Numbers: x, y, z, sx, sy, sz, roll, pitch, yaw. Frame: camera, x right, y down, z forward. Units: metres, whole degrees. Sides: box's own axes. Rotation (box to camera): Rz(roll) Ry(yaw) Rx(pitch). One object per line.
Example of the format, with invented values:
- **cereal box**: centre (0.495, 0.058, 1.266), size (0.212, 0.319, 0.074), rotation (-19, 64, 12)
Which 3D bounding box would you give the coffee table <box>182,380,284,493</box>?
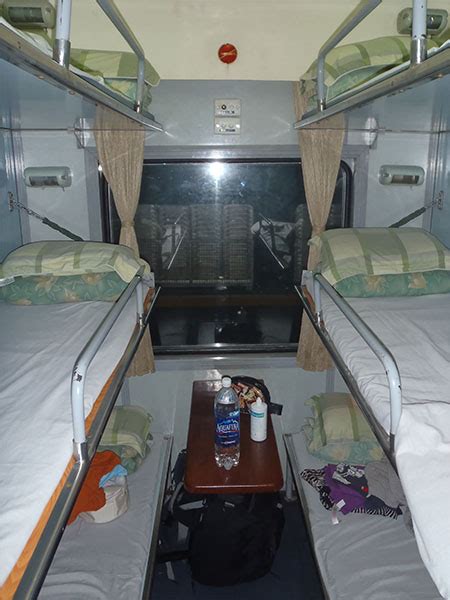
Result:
- **coffee table**: centre (-0.017, 0.787, 2.395), size (0.418, 0.756, 0.075), rotation (-6, 37, -17)
